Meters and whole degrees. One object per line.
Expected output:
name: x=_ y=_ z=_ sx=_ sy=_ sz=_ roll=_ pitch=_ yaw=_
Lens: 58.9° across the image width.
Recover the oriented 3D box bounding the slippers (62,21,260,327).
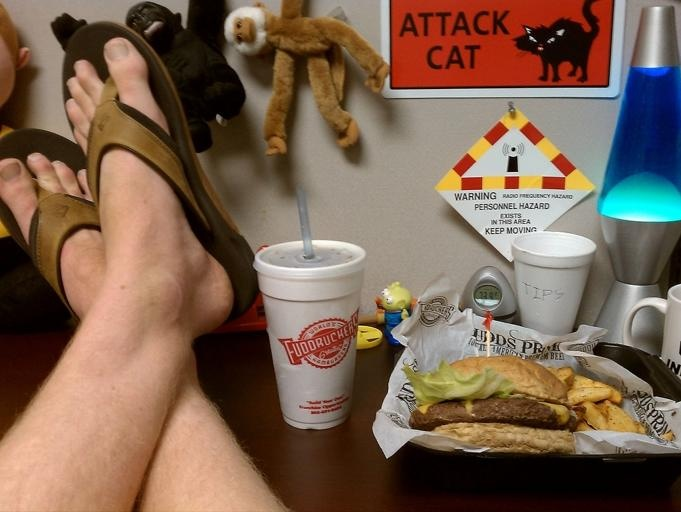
slippers: x=-0.277 y=-0.131 z=0.987 sx=0.190 sy=0.581 sz=0.149 roll=-23 pitch=6 yaw=15

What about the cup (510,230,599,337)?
cup: x=0.339 y=0.050 z=0.982 sx=0.122 sy=0.173 sz=0.138 roll=9 pitch=26 yaw=21

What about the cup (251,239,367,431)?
cup: x=-0.024 y=0.096 z=0.909 sx=0.197 sy=0.320 sz=0.212 roll=0 pitch=20 yaw=0
